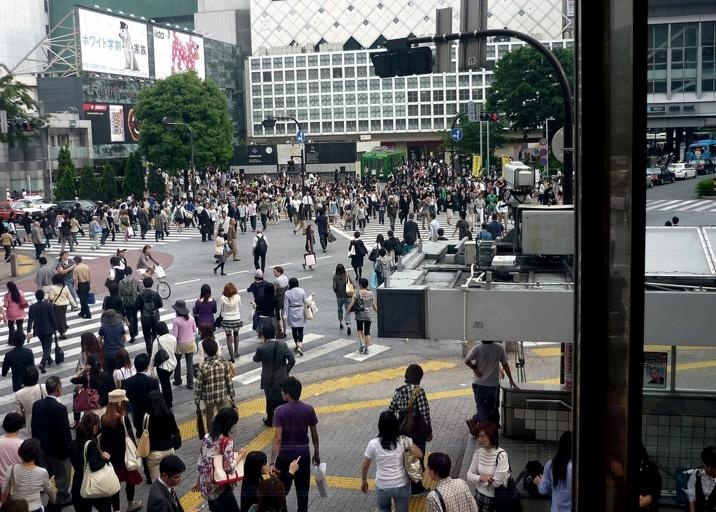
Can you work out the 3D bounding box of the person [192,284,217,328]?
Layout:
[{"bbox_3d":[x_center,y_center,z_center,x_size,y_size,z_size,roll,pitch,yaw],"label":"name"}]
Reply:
[{"bbox_3d":[-2.934,1.174,14.314,0.418,1.372,0.440,1,16,-8],"label":"person"}]

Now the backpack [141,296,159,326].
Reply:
[{"bbox_3d":[-4.106,1.059,14.806,0.445,0.584,0.331,-5,6,-7],"label":"backpack"}]

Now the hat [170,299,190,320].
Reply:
[{"bbox_3d":[-3.132,0.944,13.268,0.224,0.334,0.407,-5,7,-13],"label":"hat"}]

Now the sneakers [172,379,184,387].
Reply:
[{"bbox_3d":[-3.392,2.385,14.112,0.078,0.175,0.228,-5,12,-44],"label":"sneakers"}]

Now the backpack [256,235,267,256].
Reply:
[{"bbox_3d":[-3.129,-0.337,24.186,0.418,0.680,0.266,-7,7,-29],"label":"backpack"}]

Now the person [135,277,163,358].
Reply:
[{"bbox_3d":[-4.180,1.203,15.034,0.516,1.706,0.487,-7,20,-24],"label":"person"}]

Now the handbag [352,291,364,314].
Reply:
[{"bbox_3d":[0.035,0.805,15.185,0.260,0.664,0.605,-2,3,-2],"label":"handbag"}]

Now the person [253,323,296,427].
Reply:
[{"bbox_3d":[-1.233,1.821,11.255,0.577,1.660,0.492,4,22,9],"label":"person"}]

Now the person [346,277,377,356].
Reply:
[{"bbox_3d":[0.090,1.260,15.487,0.567,1.554,0.524,2,0,6],"label":"person"}]

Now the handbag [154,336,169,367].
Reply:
[{"bbox_3d":[-3.214,1.569,12.242,0.308,0.395,0.168,-22,-14,18],"label":"handbag"}]

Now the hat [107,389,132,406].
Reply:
[{"bbox_3d":[-2.870,1.679,8.922,0.210,0.186,0.210,-8,8,-30],"label":"hat"}]

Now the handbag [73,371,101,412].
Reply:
[{"bbox_3d":[-4.036,2.020,11.148,0.291,0.607,0.559,-4,3,-36],"label":"handbag"}]

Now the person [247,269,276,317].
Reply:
[{"bbox_3d":[-1.923,0.836,15.261,0.419,0.814,1.655,-5,7,-13],"label":"person"}]

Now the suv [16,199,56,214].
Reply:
[{"bbox_3d":[-19.058,-2.893,43.948,2.677,1.024,1.310,1,9,31],"label":"suv"}]

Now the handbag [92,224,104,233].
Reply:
[{"bbox_3d":[-11.710,-1.246,33.534,0.180,0.376,0.651,-3,7,8],"label":"handbag"}]

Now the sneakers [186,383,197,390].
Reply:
[{"bbox_3d":[-3.085,2.401,13.757,0.127,0.082,0.192,2,3,3],"label":"sneakers"}]

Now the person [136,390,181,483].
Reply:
[{"bbox_3d":[-2.539,2.436,9.499,0.574,1.431,0.390,-6,6,-41],"label":"person"}]

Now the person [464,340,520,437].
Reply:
[{"bbox_3d":[1.881,1.732,10.533,0.746,1.617,0.482,0,17,3],"label":"person"}]

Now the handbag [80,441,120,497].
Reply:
[{"bbox_3d":[-2.960,2.417,8.488,0.420,0.713,0.218,-6,6,-19],"label":"handbag"}]

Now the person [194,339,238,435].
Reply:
[{"bbox_3d":[-2.071,1.947,10.847,0.508,1.683,0.464,-5,20,-9],"label":"person"}]

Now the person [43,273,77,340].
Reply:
[{"bbox_3d":[-6.786,1.098,17.232,0.547,1.554,0.437,-2,20,-20],"label":"person"}]

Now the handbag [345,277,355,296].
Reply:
[{"bbox_3d":[-0.188,0.716,17.232,0.155,0.596,0.409,-4,-1,4],"label":"handbag"}]

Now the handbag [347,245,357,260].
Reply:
[{"bbox_3d":[-0.160,-0.097,23.038,0.176,0.477,0.460,4,7,-11],"label":"handbag"}]

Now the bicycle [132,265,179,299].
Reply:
[{"bbox_3d":[-5.385,0.709,19.913,0.981,0.668,0.509,16,28,16],"label":"bicycle"}]

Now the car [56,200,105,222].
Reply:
[{"bbox_3d":[-14.614,-2.320,39.146,2.033,1.150,1.351,-1,10,10],"label":"car"}]

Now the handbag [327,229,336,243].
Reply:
[{"bbox_3d":[-1.090,-0.808,30.953,0.272,0.684,0.503,-13,10,3],"label":"handbag"}]

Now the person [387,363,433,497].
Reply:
[{"bbox_3d":[0.606,1.916,8.534,0.497,1.365,0.436,5,15,28],"label":"person"}]

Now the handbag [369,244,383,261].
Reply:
[{"bbox_3d":[0.466,-0.087,19.813,0.423,0.346,0.593,0,-1,-2],"label":"handbag"}]

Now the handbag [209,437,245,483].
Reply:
[{"bbox_3d":[-1.350,2.128,7.835,0.325,0.498,0.364,-4,6,-1],"label":"handbag"}]

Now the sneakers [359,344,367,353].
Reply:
[{"bbox_3d":[0.121,1.958,15.822,0.109,0.202,0.189,2,26,4],"label":"sneakers"}]

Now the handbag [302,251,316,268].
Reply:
[{"bbox_3d":[-1.570,0.222,24.488,0.366,0.791,0.720,-2,-19,-7],"label":"handbag"}]

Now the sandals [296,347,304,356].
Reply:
[{"bbox_3d":[-1.215,2.019,15.862,0.091,0.120,0.285,1,8,-7],"label":"sandals"}]

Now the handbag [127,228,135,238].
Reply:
[{"bbox_3d":[-11.087,-1.112,36.396,0.384,0.316,0.545,6,22,-10],"label":"handbag"}]
